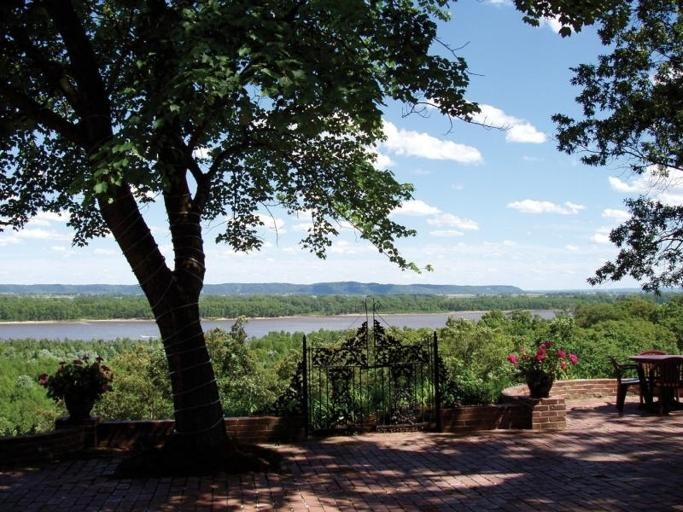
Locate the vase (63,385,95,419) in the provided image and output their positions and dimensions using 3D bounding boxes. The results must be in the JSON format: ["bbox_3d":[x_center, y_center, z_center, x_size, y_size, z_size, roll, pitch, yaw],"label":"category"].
[{"bbox_3d":[-4.621,2.583,10.020,0.480,0.430,0.521,0,-8,-3],"label":"vase"}]

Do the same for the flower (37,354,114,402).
[{"bbox_3d":[-4.747,2.158,10.073,0.989,0.782,1.044,8,2,-29],"label":"flower"}]

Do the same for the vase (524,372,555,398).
[{"bbox_3d":[3.787,2.434,10.916,0.493,0.408,0.517,1,-6,-3],"label":"vase"}]

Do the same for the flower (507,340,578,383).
[{"bbox_3d":[3.858,2.013,11.095,1.342,0.871,1.230,2,-1,-18],"label":"flower"}]
